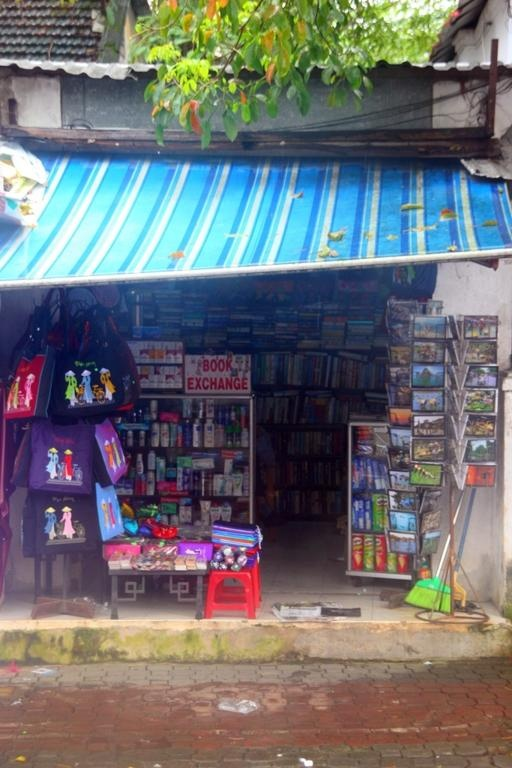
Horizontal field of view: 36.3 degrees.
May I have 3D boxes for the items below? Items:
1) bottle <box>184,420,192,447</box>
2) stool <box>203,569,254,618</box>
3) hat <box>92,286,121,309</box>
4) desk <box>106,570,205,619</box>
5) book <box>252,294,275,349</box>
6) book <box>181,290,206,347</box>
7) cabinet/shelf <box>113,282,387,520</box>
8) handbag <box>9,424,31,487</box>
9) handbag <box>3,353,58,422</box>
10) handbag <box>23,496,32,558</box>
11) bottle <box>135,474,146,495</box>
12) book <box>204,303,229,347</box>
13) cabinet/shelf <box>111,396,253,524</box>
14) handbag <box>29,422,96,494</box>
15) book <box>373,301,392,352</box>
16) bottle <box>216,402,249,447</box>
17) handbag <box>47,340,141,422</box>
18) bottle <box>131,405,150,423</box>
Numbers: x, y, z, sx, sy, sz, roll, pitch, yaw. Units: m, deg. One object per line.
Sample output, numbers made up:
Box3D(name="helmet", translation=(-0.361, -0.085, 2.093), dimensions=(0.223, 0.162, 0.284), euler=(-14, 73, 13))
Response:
Box3D(name="bottle", translation=(-0.632, 0.474, 7.224), dimensions=(0.077, 0.215, 0.228), euler=(-1, -6, 4))
Box3D(name="stool", translation=(-0.205, 1.637, 6.123), dimensions=(0.395, 0.325, 0.385), euler=(1, -16, -1))
Box3D(name="hat", translation=(-1.265, -0.725, 6.578), dimensions=(0.085, 0.185, 0.192), euler=(-2, 13, 35))
Box3D(name="desk", translation=(-0.777, 1.590, 6.063), dimensions=(0.706, 0.445, 0.609), euler=(-2, 4, -11))
Box3D(name="book", translation=(0.075, -0.688, 8.974), dimensions=(0.260, 0.540, 0.253), euler=(-1, 4, -4))
Box3D(name="book", translation=(-0.673, -0.687, 8.599), dimensions=(0.280, 0.582, 0.084), euler=(-3, 4, -22))
Box3D(name="cabinet/shelf", translation=(-0.086, 0.054, 8.004), dimensions=(2.780, 2.486, 0.950), euler=(0, 32, 4))
Box3D(name="handbag", translation=(-1.737, 0.549, 5.837), dimensions=(0.166, 0.528, 0.055), euler=(6, 15, -14))
Box3D(name="handbag", translation=(-1.655, 0.042, 5.788), dimensions=(0.434, 0.591, 0.158), euler=(-9, -33, 23))
Box3D(name="handbag", translation=(-1.713, 1.066, 5.886), dimensions=(0.085, 0.449, 0.127), euler=(-2, 4, -16))
Box3D(name="bottle", translation=(-1.064, 0.936, 7.183), dimensions=(0.100, 0.184, 0.041), euler=(-2, 4, -10))
Box3D(name="book", translation=(-0.434, -0.627, 8.745), dimensions=(0.388, 0.531, 0.377), euler=(0, 3, 4))
Box3D(name="cabinet/shelf", translation=(-0.529, 0.810, 7.439), dimensions=(1.535, 1.394, 0.523), euler=(-3, -5, 36))
Box3D(name="handbag", translation=(-1.467, 0.569, 5.853), dimensions=(0.516, 0.636, 0.249), euler=(3, -9, -17))
Box3D(name="book", translation=(1.306, -0.617, 8.177), dimensions=(0.238, 0.640, 0.606), euler=(1, 7, 7))
Box3D(name="bottle", translation=(-0.221, 0.393, 7.160), dimensions=(0.313, 0.394, 0.088), euler=(-1, 4, 7))
Box3D(name="handbag", translation=(-1.281, -0.024, 6.038), dimensions=(0.629, 0.600, 0.282), euler=(-5, 0, -26))
Box3D(name="bottle", translation=(-1.075, 0.292, 7.219), dimensions=(0.196, 0.180, 0.099), euler=(-3, 1, -6))
